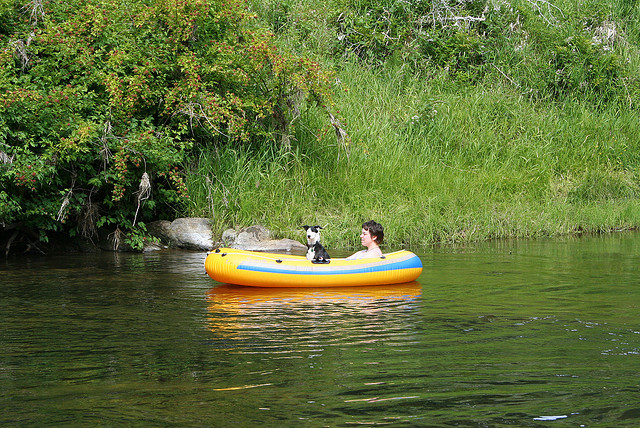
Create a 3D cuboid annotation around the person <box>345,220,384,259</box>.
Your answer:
[{"bbox_3d":[0.796,0.531,14.753,0.732,0.823,0.727,0,4,8],"label":"person"}]

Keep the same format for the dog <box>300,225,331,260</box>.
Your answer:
[{"bbox_3d":[-0.073,0.593,14.585,0.359,0.815,0.638,14,17,34],"label":"dog"}]

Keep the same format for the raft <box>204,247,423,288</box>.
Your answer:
[{"bbox_3d":[-0.137,1.050,14.385,2.747,0.580,1.369,1,-6,-6],"label":"raft"}]

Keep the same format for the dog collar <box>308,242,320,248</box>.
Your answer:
[{"bbox_3d":[-0.089,0.571,14.447,0.165,0.109,0.228,-3,14,-7],"label":"dog collar"}]
